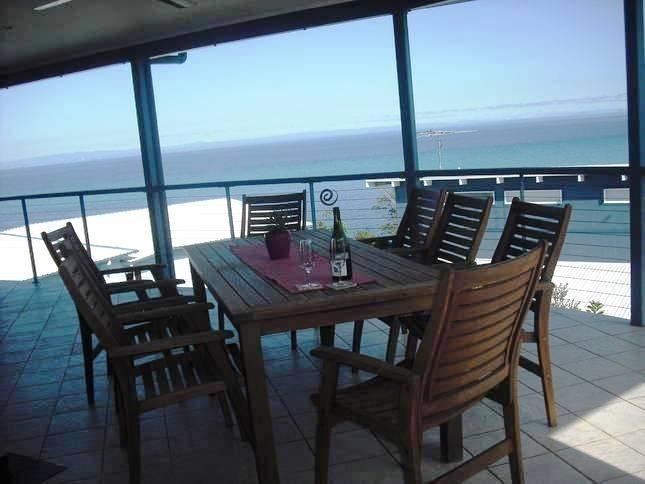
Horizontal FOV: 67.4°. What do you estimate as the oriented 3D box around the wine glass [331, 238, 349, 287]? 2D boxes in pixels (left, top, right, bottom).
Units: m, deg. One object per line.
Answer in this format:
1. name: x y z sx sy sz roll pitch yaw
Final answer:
1. wine glass: 0.080 0.078 2.095 0.078 0.180 0.195 -2 14 8
